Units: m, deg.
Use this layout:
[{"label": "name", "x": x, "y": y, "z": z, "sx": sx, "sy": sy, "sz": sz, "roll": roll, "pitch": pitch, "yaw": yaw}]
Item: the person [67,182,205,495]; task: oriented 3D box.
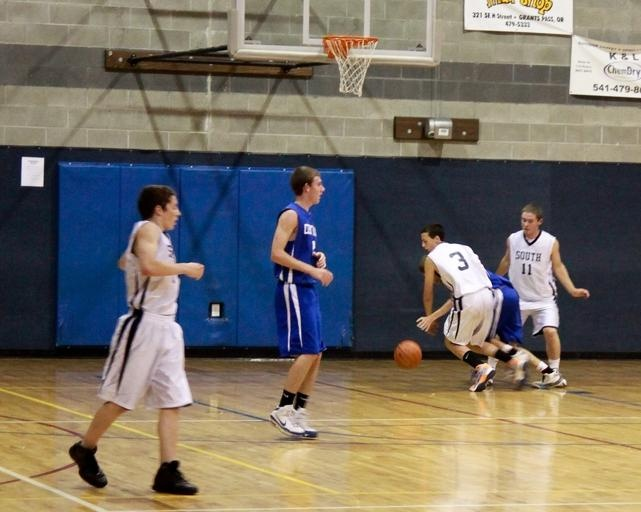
[{"label": "person", "x": -1.159, "y": 0.512, "z": 6.074, "sx": 0.795, "sy": 1.904, "sz": 0.503, "roll": 1, "pitch": 3, "yaw": -5}]

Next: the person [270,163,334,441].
[{"label": "person", "x": -0.149, "y": 0.352, "z": 7.269, "sx": 0.445, "sy": 2.048, "sz": 0.553, "roll": 1, "pitch": 3, "yaw": -3}]

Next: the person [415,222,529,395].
[{"label": "person", "x": 1.512, "y": 0.526, "z": 9.223, "sx": 1.020, "sy": 1.605, "sz": 0.551, "roll": 2, "pitch": 3, "yaw": 8}]

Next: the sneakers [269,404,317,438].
[{"label": "sneakers", "x": -0.186, "y": 1.267, "z": 7.302, "sx": 0.365, "sy": 0.164, "sz": 0.199, "roll": 22, "pitch": 5, "yaw": 31}]
